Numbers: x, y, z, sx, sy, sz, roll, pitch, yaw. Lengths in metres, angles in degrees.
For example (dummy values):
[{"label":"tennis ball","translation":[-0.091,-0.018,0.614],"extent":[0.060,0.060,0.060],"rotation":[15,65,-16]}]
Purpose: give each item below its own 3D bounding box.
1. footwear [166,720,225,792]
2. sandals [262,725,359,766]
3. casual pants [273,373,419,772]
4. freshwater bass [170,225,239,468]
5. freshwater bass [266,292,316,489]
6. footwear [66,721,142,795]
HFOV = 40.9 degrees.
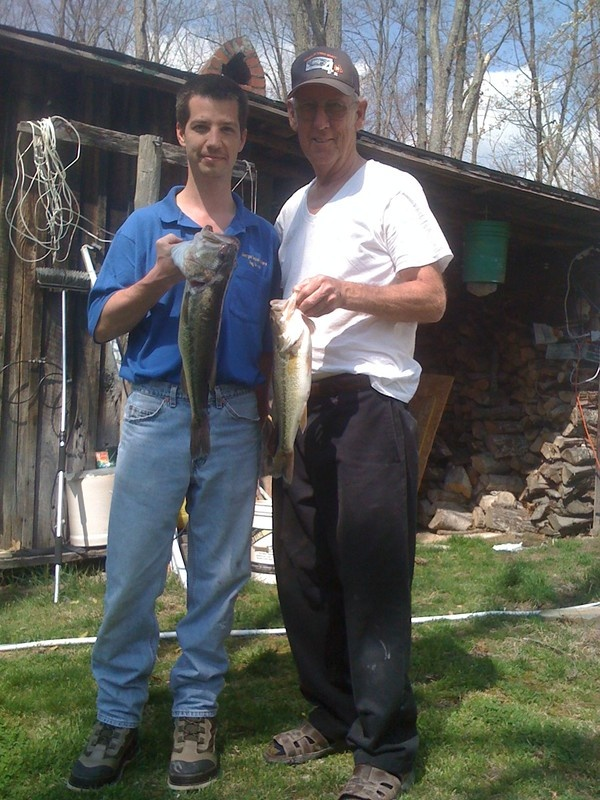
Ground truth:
[{"label":"footwear","translation":[-0.365,1.212,2.808],"extent":[0.169,0.234,0.237],"rotation":[3,0,-5]},{"label":"sandals","translation":[0.010,1.260,2.952],"extent":[0.256,0.082,0.110],"rotation":[6,-8,-24]},{"label":"casual pants","translation":[0.169,0.602,2.892],"extent":[0.613,1.369,0.307],"rotation":[3,0,44]},{"label":"freshwater bass","translation":[-0.386,-0.180,2.579],"extent":[0.209,0.704,0.293],"rotation":[4,19,-8]},{"label":"freshwater bass","translation":[-0.038,-0.027,2.746],"extent":[0.146,0.627,0.284],"rotation":[3,0,0]},{"label":"footwear","translation":[-0.677,1.204,2.748],"extent":[0.121,0.213,0.227],"rotation":[3,0,20]}]
